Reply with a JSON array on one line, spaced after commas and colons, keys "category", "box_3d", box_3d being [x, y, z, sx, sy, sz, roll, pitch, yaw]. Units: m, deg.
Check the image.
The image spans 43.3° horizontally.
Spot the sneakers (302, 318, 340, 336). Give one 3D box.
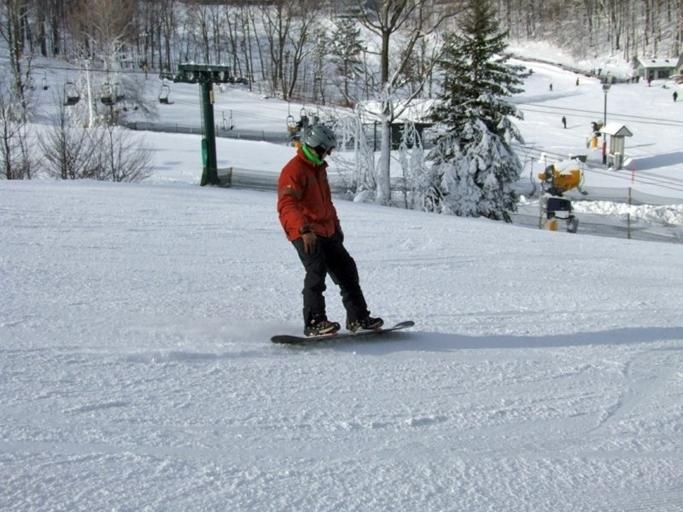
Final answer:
[{"category": "sneakers", "box_3d": [-0.215, 0.740, 8.918, 0.434, 0.176, 0.140, -4, -2, 3]}]

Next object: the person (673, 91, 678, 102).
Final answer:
[{"category": "person", "box_3d": [25.788, -12.474, 66.449, 0.303, 0.664, 1.058, 6, 13, 19]}]

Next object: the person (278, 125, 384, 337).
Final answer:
[{"category": "person", "box_3d": [-0.165, -0.262, 8.951, 1.005, 2.216, 0.621, -1, 13, -10]}]

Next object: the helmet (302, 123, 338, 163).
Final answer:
[{"category": "helmet", "box_3d": [-0.248, -1.221, 9.101, 0.350, 0.400, 0.679, 0, 12, -3]}]

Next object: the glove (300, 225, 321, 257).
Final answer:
[{"category": "glove", "box_3d": [-0.326, -0.178, 8.691, 0.095, 0.253, 0.198, -5, 8, -26]}]

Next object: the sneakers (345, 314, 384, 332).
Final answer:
[{"category": "sneakers", "box_3d": [0.242, 0.699, 9.191, 0.454, 0.197, 0.151, -5, 12, -5]}]

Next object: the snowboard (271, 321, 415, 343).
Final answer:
[{"category": "snowboard", "box_3d": [0.026, 0.806, 9.123, 0.989, 0.078, 0.138, -6, -25, -23]}]
